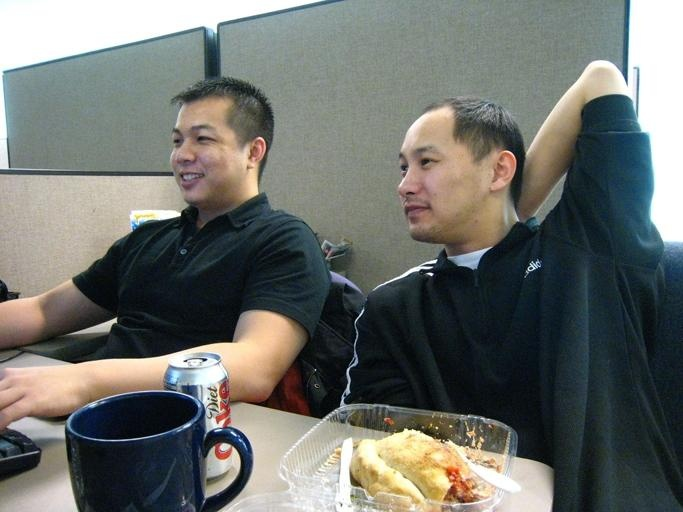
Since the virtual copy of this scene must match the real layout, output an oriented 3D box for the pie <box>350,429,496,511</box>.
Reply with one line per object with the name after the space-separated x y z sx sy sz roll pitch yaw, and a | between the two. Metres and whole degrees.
0.124 0.363 0.998 0.159 0.053 0.118 7 14 27 | pie
